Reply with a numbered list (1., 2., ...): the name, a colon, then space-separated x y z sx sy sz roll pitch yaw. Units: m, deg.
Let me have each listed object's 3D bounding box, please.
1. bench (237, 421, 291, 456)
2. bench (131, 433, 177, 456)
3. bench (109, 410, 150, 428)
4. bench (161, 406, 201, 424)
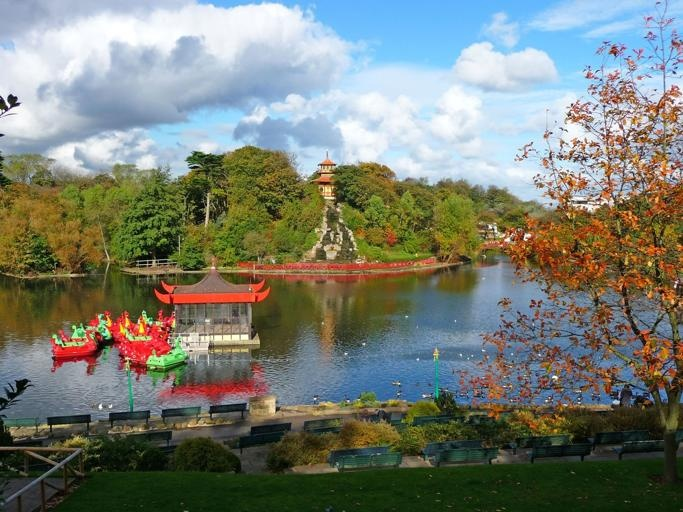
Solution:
1. bench: -3.565 8.349 35.580 2.354 0.805 2.547 -1 -1 -4
2. bench: -8.276 8.313 34.083 2.099 0.656 1.082 4 15 33
3. bench: -10.682 8.154 39.099 1.946 0.780 1.584 0 -1 -16
4. bench: -8.276 8.127 39.953 1.927 0.886 2.344 -1 -1 -14
